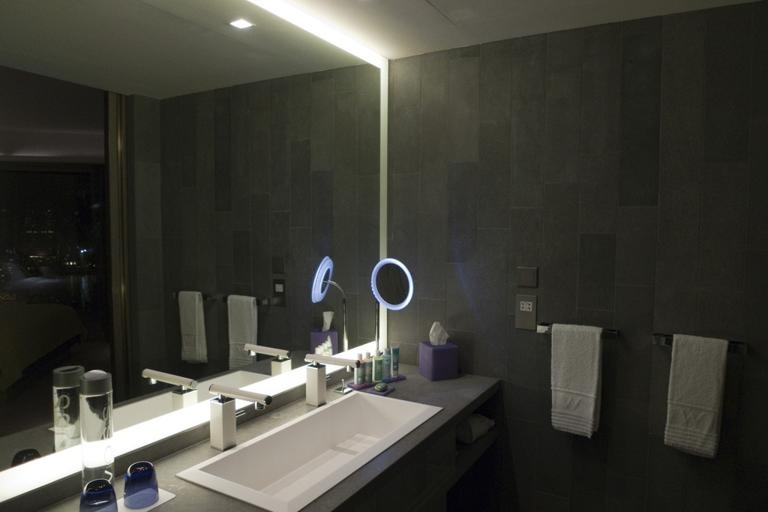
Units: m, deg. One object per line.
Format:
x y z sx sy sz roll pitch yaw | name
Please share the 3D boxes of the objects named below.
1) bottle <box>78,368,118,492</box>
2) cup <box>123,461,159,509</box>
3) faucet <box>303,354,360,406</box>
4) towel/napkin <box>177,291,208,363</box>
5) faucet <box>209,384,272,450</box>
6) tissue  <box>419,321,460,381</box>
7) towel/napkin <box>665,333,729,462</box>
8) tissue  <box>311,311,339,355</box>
-1.129 0.672 2.332 0.133 0.319 0.157 -5 3 -27 | bottle
-0.930 0.890 2.341 0.143 0.166 0.150 0 0 0 | cup
-0.265 0.653 3.068 0.287 0.292 0.082 6 11 24 | faucet
-0.875 0.326 2.715 0.026 0.342 0.136 -1 4 40 | towel/napkin
-0.661 0.716 2.664 0.288 0.284 0.179 -1 4 40 | faucet
0.329 0.565 3.558 0.259 0.333 0.265 -1 4 -10 | tissue 
1.595 0.724 3.031 0.296 0.637 0.075 -1 4 32 | towel/napkin
-0.353 0.458 3.455 0.166 0.228 0.172 -4 -6 16 | tissue 
